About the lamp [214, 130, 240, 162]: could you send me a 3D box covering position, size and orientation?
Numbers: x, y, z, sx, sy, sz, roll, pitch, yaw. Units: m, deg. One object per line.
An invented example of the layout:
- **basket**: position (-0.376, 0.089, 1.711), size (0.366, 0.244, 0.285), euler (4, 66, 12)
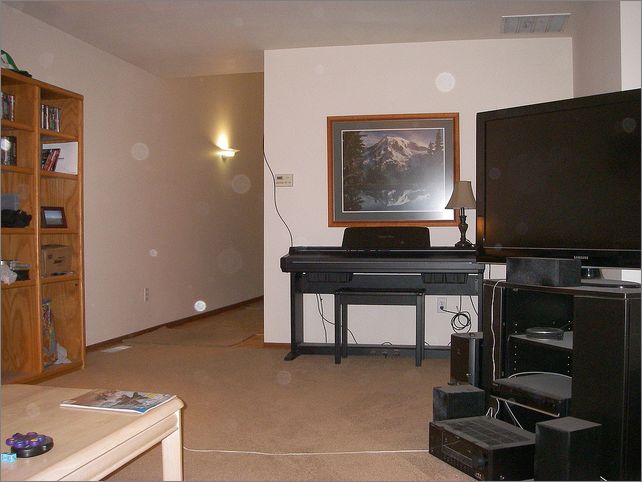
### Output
- **lamp**: position (-1.129, -1.135, 6.410), size (0.096, 0.301, 0.244), euler (-6, 5, 32)

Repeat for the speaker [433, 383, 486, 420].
- **speaker**: position (0.745, 0.849, 2.864), size (0.300, 0.206, 0.164), euler (0, -5, -10)
